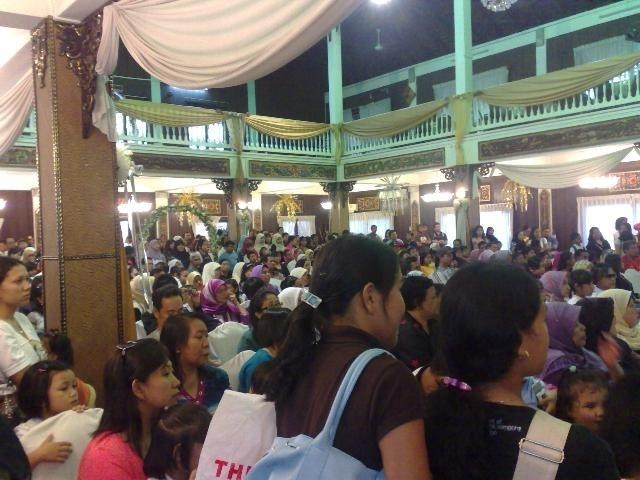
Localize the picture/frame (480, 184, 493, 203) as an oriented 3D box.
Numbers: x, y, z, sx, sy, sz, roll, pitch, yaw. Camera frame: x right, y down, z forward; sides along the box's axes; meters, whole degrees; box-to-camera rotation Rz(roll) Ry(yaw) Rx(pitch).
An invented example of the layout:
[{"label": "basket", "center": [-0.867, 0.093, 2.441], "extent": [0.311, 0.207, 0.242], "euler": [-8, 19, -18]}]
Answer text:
[{"label": "picture/frame", "center": [5.211, -1.467, 16.614], "extent": [0.071, 0.699, 0.482], "euler": [-10, 19, -35]}]

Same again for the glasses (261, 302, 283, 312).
[{"label": "glasses", "center": [-0.375, 0.527, 4.241], "extent": [0.111, 0.036, 0.111], "euler": [-24, -4, 40]}]

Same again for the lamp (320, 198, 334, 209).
[{"label": "lamp", "center": [0.214, -1.182, 17.701], "extent": [0.553, 0.425, 0.371], "euler": [0, -3, 1]}]
